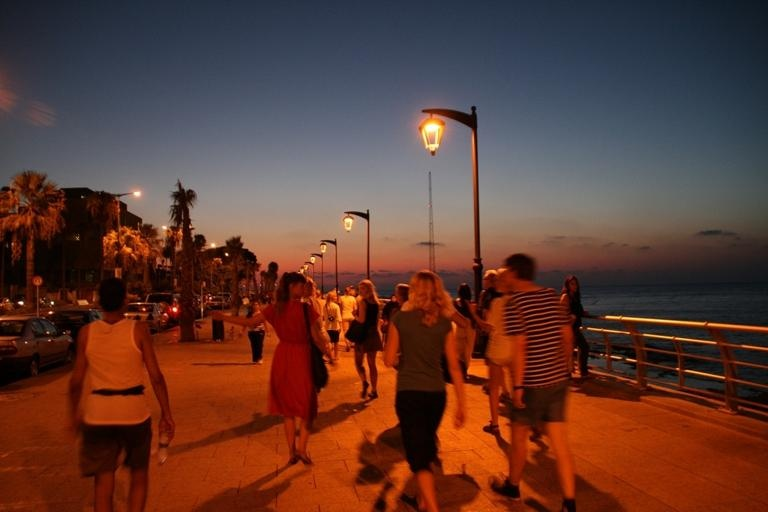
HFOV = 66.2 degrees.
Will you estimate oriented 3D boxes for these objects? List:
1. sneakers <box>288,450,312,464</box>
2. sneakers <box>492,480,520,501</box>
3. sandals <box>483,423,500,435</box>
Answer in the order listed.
[{"bbox_3d":[-1.161,2.767,8.078,0.432,0.195,0.134,5,-6,-11],"label":"sneakers"},{"bbox_3d":[1.475,2.817,7.183,0.154,0.157,0.366,-8,14,-40],"label":"sneakers"},{"bbox_3d":[1.657,2.681,9.186,0.112,0.196,0.316,0,1,-27],"label":"sandals"}]
